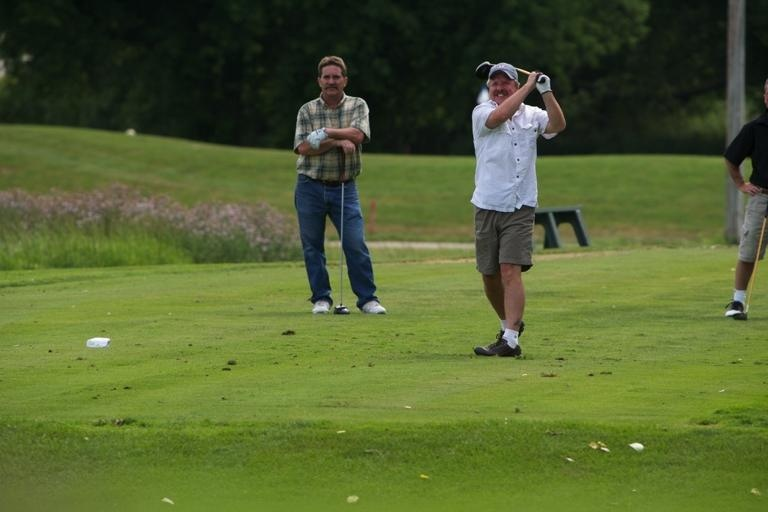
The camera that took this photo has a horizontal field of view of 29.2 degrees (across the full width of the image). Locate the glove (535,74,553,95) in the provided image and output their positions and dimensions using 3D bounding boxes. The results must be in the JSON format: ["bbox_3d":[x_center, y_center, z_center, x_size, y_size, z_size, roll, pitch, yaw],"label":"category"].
[{"bbox_3d":[1.580,-1.680,14.390,0.153,0.184,0.094,-7,16,33],"label":"glove"}]

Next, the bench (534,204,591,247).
[{"bbox_3d":[2.896,-0.536,24.114,0.811,0.696,0.930,-6,2,22],"label":"bench"}]

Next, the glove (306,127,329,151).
[{"bbox_3d":[-0.711,-1.259,15.850,0.230,0.215,0.115,-3,7,-3],"label":"glove"}]
